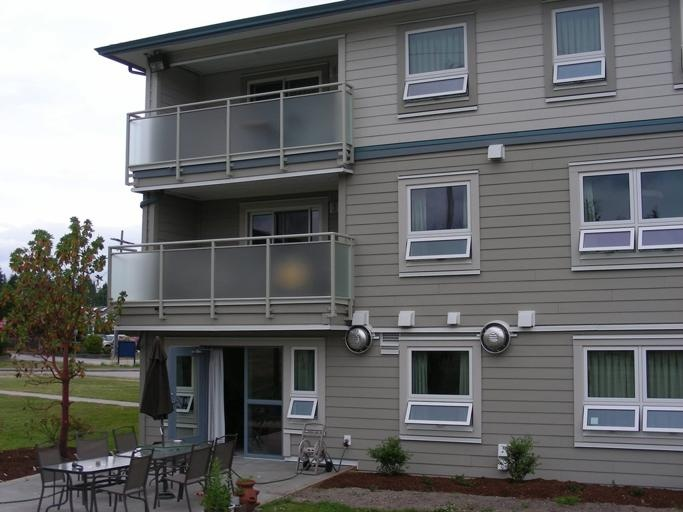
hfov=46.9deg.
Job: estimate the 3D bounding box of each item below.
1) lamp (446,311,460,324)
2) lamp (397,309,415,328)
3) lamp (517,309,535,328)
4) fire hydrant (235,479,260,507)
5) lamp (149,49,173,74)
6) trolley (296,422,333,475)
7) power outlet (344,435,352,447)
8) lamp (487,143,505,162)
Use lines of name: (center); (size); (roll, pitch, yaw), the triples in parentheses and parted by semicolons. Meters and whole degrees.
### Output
lamp: (2.374, 1.372, 16.813); (0.375, 0.390, 0.203); (-1, -6, 15)
lamp: (1.382, 1.390, 17.103); (0.367, 0.378, 0.169); (0, -8, 8)
lamp: (3.812, 1.307, 16.380); (0.428, 0.440, 0.309); (-1, -4, 17)
fire hydrant: (-1.735, 4.347, 14.356); (0.347, 0.436, 0.449); (3, -3, -39)
lamp: (-4.718, -4.904, 19.843); (0.542, 0.464, 0.339); (-2, -9, 22)
trolley: (-0.664, 4.227, 17.237); (0.659, 1.030, 0.754); (-3, -4, 27)
power outlet: (0.093, 4.112, 17.322); (0.212, 0.218, 0.051); (-2, -5, 28)
lamp: (3.274, -2.203, 16.748); (0.366, 0.358, 0.186); (-1, -9, 13)
